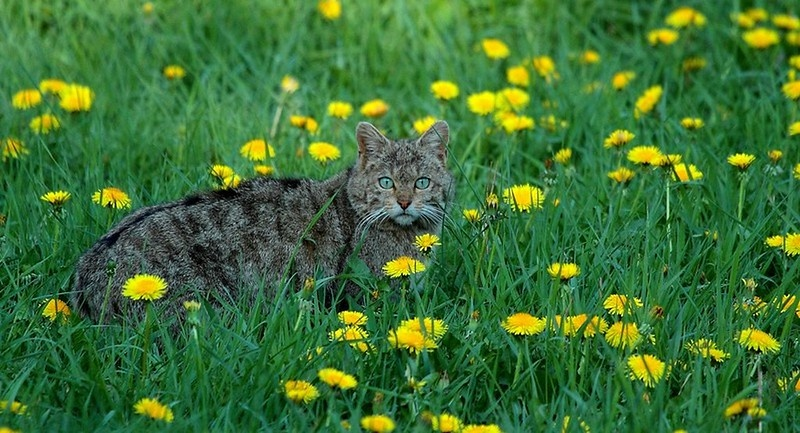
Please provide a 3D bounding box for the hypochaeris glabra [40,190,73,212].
[{"bbox_3d":[-2.400,-0.120,5.813,0.185,0.085,0.184,-1,-8,-10],"label":"hypochaeris glabra"}]

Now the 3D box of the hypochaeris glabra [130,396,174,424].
[{"bbox_3d":[-1.444,1.127,4.841,0.163,0.081,0.173,29,-4,21],"label":"hypochaeris glabra"}]

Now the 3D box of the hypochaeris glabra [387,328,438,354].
[{"bbox_3d":[0.056,0.741,5.000,0.296,0.129,0.162,10,25,31],"label":"hypochaeris glabra"}]

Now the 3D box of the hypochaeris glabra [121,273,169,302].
[{"bbox_3d":[-1.541,0.421,4.990,0.238,0.088,0.242,8,10,-16],"label":"hypochaeris glabra"}]

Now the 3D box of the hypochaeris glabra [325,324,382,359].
[{"bbox_3d":[-0.327,0.730,5.087,0.242,0.086,0.223,8,9,39],"label":"hypochaeris glabra"}]

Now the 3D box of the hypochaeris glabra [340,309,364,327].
[{"bbox_3d":[-0.300,0.632,5.223,0.107,0.038,0.106,2,29,-18],"label":"hypochaeris glabra"}]

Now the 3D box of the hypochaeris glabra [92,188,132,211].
[{"bbox_3d":[-2.027,-0.110,5.822,0.197,0.091,0.197,13,13,2],"label":"hypochaeris glabra"}]

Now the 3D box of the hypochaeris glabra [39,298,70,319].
[{"bbox_3d":[-2.240,0.591,5.407,0.145,0.132,0.234,-7,22,-8],"label":"hypochaeris glabra"}]

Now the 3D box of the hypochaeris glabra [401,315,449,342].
[{"bbox_3d":[0.164,0.670,5.072,0.192,0.074,0.191,12,-7,25],"label":"hypochaeris glabra"}]
